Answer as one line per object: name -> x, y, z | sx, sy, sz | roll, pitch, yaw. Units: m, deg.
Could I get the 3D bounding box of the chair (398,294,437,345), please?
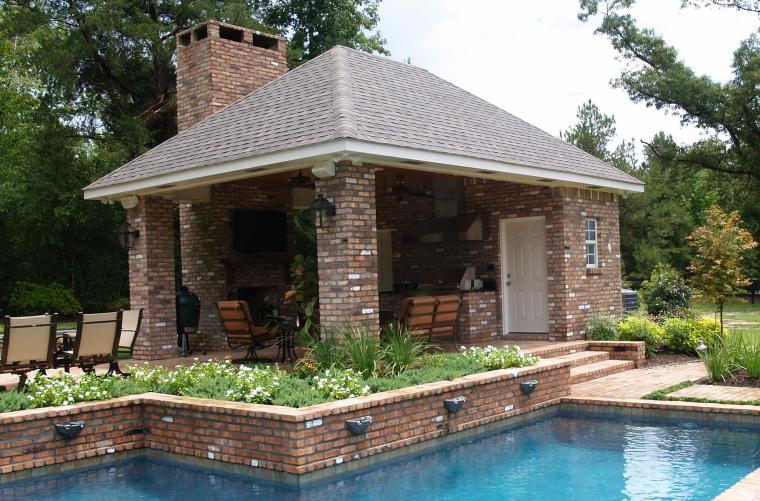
chair -> 0.810, 1.410, 14.695 | 0.795, 1.064, 0.884 | -2, 0, -33

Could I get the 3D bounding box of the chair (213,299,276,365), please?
chair -> -3.001, 1.730, 15.279 | 1.127, 1.523, 0.986 | -2, 11, -13

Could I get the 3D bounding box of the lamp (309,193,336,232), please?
lamp -> -1.136, -0.742, 13.447 | 0.353, 0.647, 0.478 | -9, 14, -38

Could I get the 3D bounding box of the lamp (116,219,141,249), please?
lamp -> -6.057, -0.320, 16.630 | 0.344, 0.627, 0.520 | -10, 15, -42

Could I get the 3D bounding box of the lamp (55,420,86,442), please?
lamp -> -4.994, 2.853, 11.059 | 0.378, 0.269, 0.094 | 0, -3, -16
